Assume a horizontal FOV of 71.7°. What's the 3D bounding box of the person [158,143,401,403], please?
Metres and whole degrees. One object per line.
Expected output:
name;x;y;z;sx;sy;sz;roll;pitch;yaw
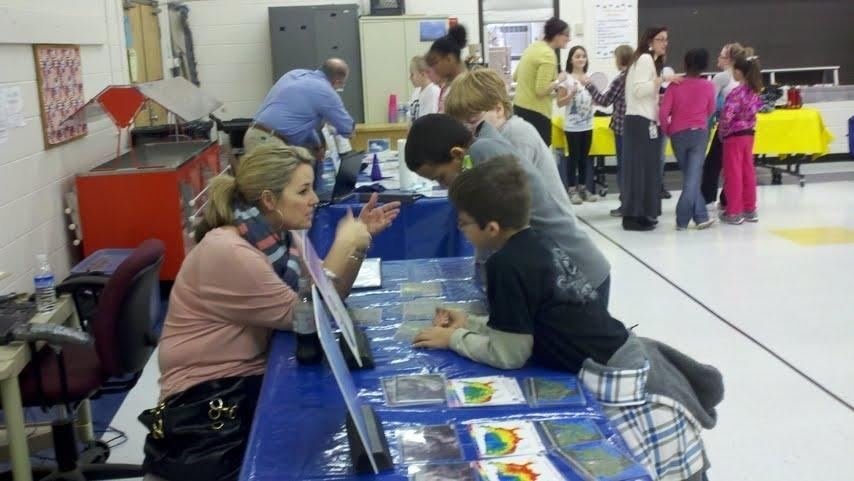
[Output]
person;-0.770;-0.109;3.953;1.542;2.149;0.939;-4;18;-11

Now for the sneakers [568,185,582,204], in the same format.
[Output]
sneakers;2.032;-0.607;8.076;0.151;0.162;0.427;-2;7;-5

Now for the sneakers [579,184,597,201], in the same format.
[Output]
sneakers;2.258;-0.652;8.149;0.144;0.169;0.409;-7;7;-25

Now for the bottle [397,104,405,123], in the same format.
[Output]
bottle;-0.328;-1.803;8.300;0.168;0.175;0.160;0;6;-3

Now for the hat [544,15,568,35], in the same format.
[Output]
hat;1.446;-2.357;6.489;0.241;0.222;0.182;-16;37;-7

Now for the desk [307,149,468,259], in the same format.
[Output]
desk;-0.248;-0.222;4.118;0.860;0.358;0.822;-2;11;-1
